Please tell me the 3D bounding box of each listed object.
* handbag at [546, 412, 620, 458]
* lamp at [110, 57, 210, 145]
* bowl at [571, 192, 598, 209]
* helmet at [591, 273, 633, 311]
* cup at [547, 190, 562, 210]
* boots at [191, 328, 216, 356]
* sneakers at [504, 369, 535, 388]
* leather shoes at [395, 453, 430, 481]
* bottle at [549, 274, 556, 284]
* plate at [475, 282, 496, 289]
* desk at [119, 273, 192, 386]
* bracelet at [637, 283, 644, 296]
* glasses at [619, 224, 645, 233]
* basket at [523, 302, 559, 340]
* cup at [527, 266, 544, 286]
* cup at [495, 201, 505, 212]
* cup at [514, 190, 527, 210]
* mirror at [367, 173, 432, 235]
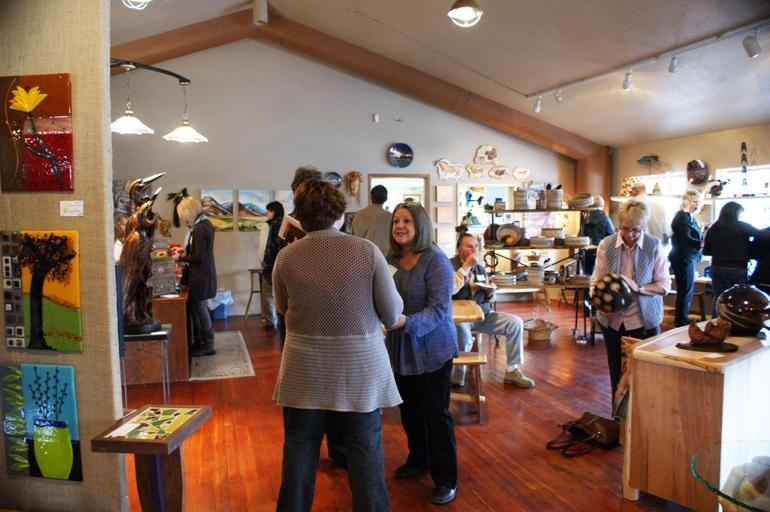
[{"bbox_3d":[1.722,1.546,4.996,0.687,0.199,0.404,-1,9,-4],"label":"handbag"},{"bbox_3d":[-2.789,-1.892,7.054,0.510,0.844,1.365,1,4,25],"label":"lamp"},{"bbox_3d":[2.396,-0.636,6.931,0.227,0.104,0.225,-17,27,9],"label":"bowl"},{"bbox_3d":[1.956,0.327,4.946,0.345,0.333,0.198,3,10,23],"label":"helmet"},{"bbox_3d":[2.032,-0.676,6.911,0.227,0.250,0.227,-2,2,0],"label":"cup"},{"bbox_3d":[-2.270,1.160,7.451,0.402,0.373,0.187,2,2,-11],"label":"boots"},{"bbox_3d":[1.480,1.349,6.346,0.327,0.158,0.160,2,5,26],"label":"sneakers"},{"bbox_3d":[0.214,1.688,4.605,0.302,0.284,0.136,2,-5,-14],"label":"leather shoes"},{"bbox_3d":[2.068,0.277,7.092,0.089,0.083,0.087,2,-5,-19],"label":"bottle"},{"bbox_3d":[1.073,0.313,6.115,0.186,0.070,0.293,0,9,8],"label":"plate"},{"bbox_3d":[-2.380,0.816,6.194,0.804,1.366,1.013,0,2,-10],"label":"desk"},{"bbox_3d":[2.187,0.292,4.925,0.047,0.062,0.062,7,27,0],"label":"bracelet"},{"bbox_3d":[2.165,-0.246,5.045,0.178,0.078,0.153,3,10,22],"label":"glasses"},{"bbox_3d":[2.323,0.989,8.458,0.610,0.508,0.597,2,-3,-14],"label":"basket"},{"bbox_3d":[1.846,0.244,7.012,0.219,0.228,0.205,0,2,0],"label":"cup"},{"bbox_3d":[1.423,-0.624,7.133,0.129,0.130,0.149,1,10,10],"label":"cup"},{"bbox_3d":[1.681,-0.693,7.066,0.161,0.251,0.221,1,10,14],"label":"cup"},{"bbox_3d":[0.251,-1.232,12.435,1.560,1.027,1.452,-1,3,-6],"label":"mirror"}]
